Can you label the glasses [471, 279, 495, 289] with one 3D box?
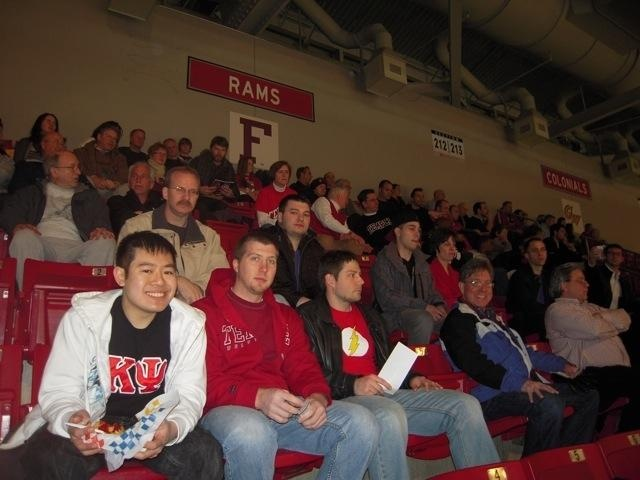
[{"bbox_3d":[1.284,0.332,3.881,0.235,0.070,0.079,8,-16,-33],"label":"glasses"}]
